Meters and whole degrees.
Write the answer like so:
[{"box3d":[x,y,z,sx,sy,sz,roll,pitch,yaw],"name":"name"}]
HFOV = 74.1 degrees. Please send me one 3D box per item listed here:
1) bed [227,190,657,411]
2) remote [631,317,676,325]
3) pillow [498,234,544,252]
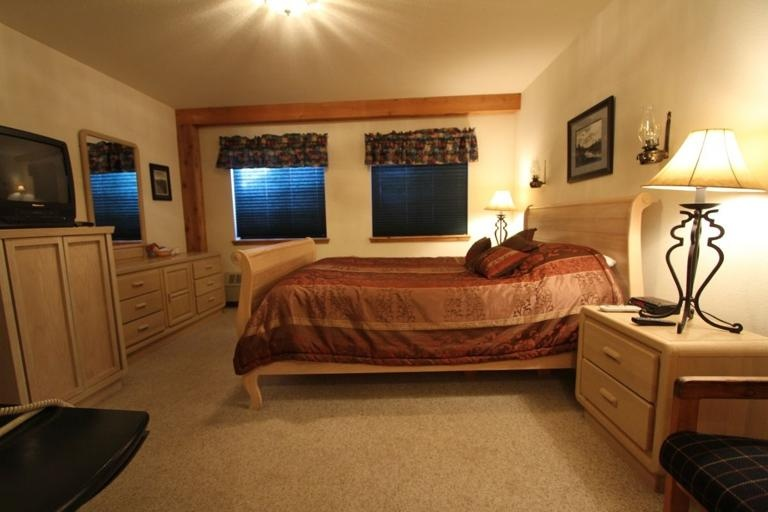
[{"box3d":[0.711,0.136,4.511,2.352,1.200,2.156,0,1,2],"name":"bed"},{"box3d":[1.845,0.446,3.473,0.193,0.046,0.100,1,-2,14],"name":"remote"},{"box3d":[1.224,-0.114,4.541,0.112,0.135,0.400,-3,5,-34],"name":"pillow"}]
